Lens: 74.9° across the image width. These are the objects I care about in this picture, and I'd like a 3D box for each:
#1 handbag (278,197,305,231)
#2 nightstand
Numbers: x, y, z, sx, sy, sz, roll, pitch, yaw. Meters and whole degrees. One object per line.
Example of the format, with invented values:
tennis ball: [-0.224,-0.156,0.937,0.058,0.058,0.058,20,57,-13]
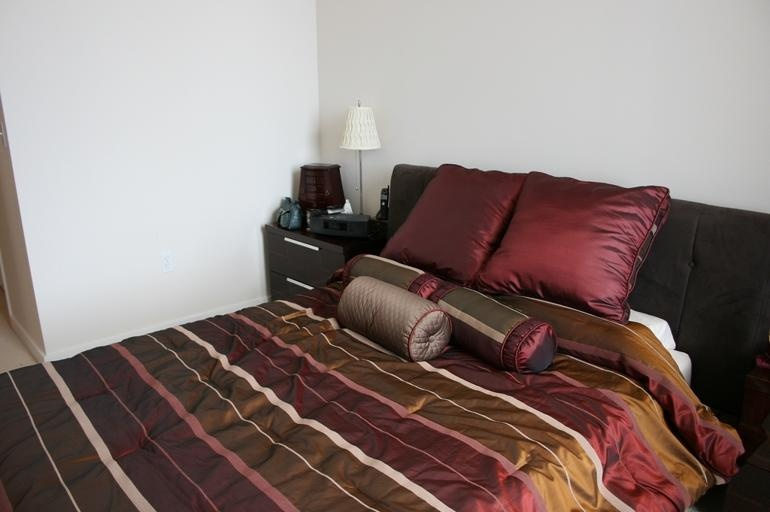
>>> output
handbag: [-0.700,-0.305,3.804,0.141,0.202,0.235,-8,17,-28]
nightstand: [-0.443,0.174,3.847,0.853,0.693,0.477,14,20,41]
